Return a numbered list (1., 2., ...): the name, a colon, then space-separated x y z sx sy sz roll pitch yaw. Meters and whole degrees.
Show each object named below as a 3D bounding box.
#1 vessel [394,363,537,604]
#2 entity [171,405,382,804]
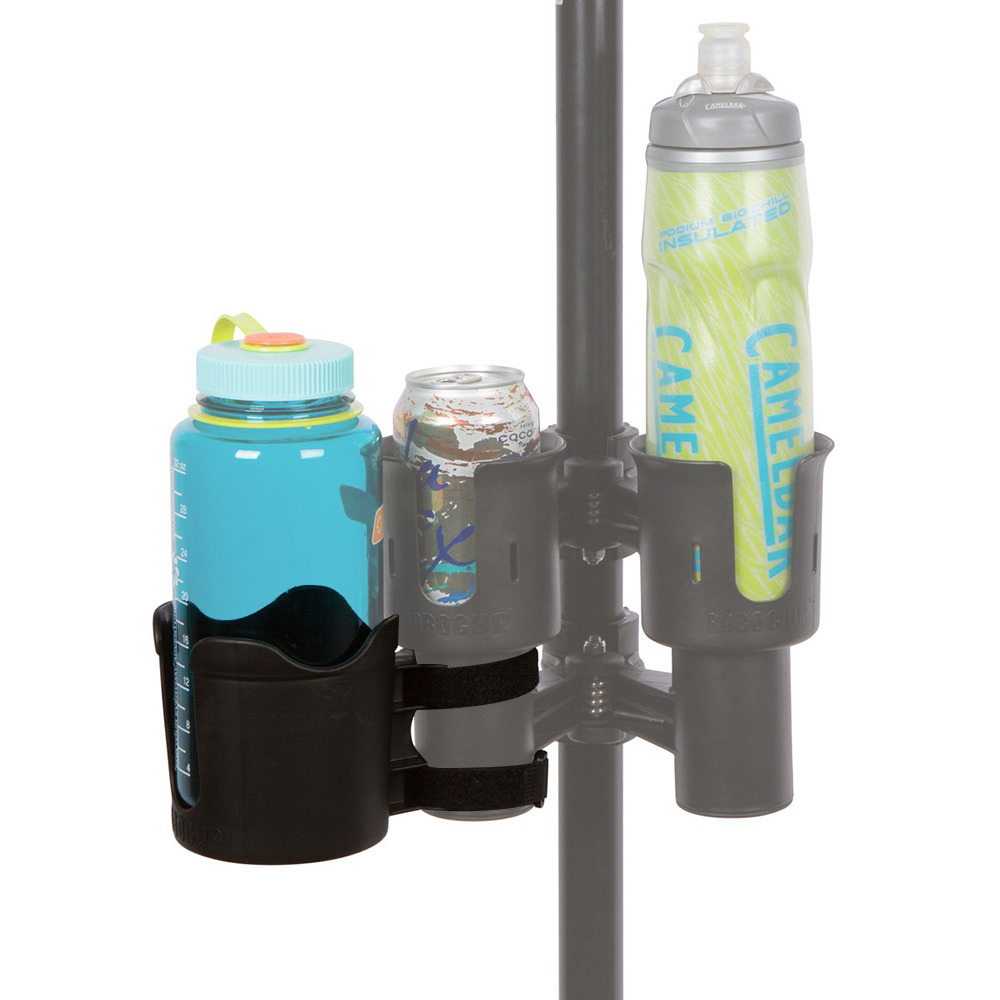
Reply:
1. vessel: -0.024 -0.008 1.168 0.109 0.185 0.054 -3 10 -3
2. entity: -0.174 0.083 1.119 0.184 0.326 0.091 -5 10 -10
